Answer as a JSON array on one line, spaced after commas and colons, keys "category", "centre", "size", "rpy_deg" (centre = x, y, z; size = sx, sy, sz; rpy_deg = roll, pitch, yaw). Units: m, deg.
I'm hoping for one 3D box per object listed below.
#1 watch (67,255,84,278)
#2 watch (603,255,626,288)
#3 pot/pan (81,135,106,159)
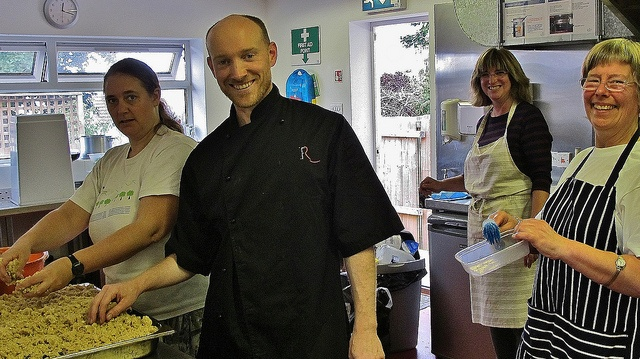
[{"category": "watch", "centre": [-1.186, 0.410, 2.052], "size": [0.064, 0.097, 0.096], "rpy_deg": [-23, 40, -32]}, {"category": "watch", "centre": [1.209, 0.375, 1.751], "size": [0.035, 0.105, 0.082], "rpy_deg": [24, -12, 4]}, {"category": "pot/pan", "centre": [-2.926, -0.425, 5.471], "size": [0.317, 0.264, 0.305], "rpy_deg": [-2, 3, -29]}]
